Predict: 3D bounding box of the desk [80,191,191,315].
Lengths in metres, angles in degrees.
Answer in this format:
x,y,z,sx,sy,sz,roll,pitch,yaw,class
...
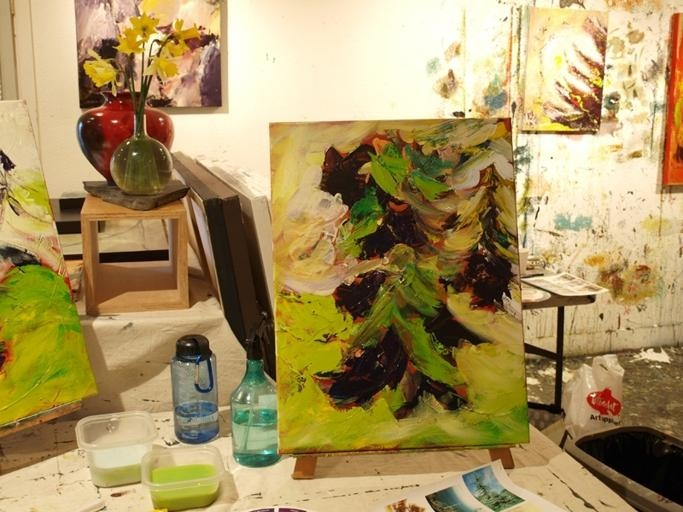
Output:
x,y,z,sx,sy,sz,roll,pitch,yaw,class
-0.552,-0.031,1.569,0.318,0.284,0.395,0,13,-10,desk

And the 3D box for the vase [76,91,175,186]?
x,y,z,sx,sy,sz,roll,pitch,yaw,class
-0.669,-0.363,1.639,0.296,0.262,0.286,-7,14,-14,vase

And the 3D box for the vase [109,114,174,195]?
x,y,z,sx,sy,sz,roll,pitch,yaw,class
-0.546,-0.286,1.441,0.162,0.207,0.153,5,18,7,vase

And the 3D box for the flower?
x,y,z,sx,sy,sz,roll,pitch,yaw,class
-0.541,-0.515,1.435,0.275,0.251,0.252,4,33,10,flower

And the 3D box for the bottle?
x,y,z,sx,sy,sz,roll,pitch,yaw,class
-0.352,0.317,1.260,0.101,0.264,0.061,-4,10,-19,bottle
